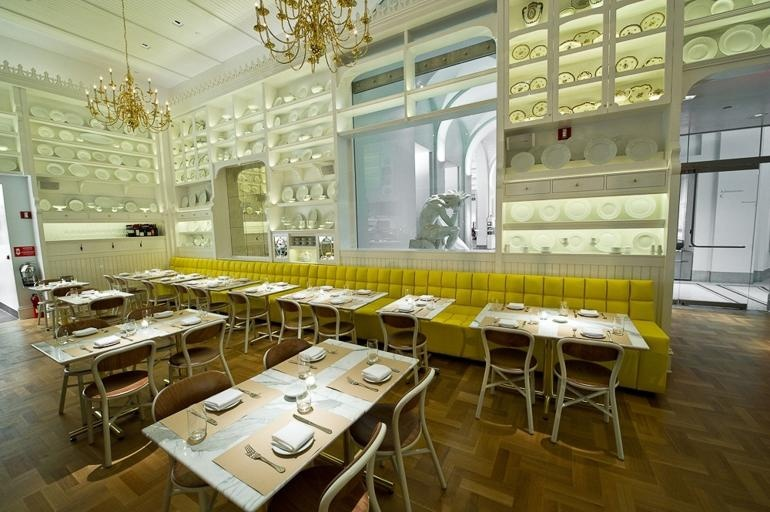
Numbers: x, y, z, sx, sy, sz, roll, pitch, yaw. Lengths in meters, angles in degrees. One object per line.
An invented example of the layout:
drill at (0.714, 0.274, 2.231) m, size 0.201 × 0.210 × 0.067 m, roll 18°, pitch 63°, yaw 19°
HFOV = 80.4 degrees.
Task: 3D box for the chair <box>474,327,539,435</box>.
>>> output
chair at (1.692, 1.540, 6.366) m, size 0.866 × 1.293 × 0.756 m, roll 4°, pitch 13°, yaw 24°

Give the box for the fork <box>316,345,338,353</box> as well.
fork at (-0.730, 1.198, 5.794) m, size 0.060 × 0.078 × 0.550 m, roll 0°, pitch 0°, yaw 15°

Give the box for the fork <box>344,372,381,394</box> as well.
fork at (-0.262, 1.501, 5.372) m, size 0.458 × 0.068 × 0.075 m, roll 18°, pitch 42°, yaw 23°

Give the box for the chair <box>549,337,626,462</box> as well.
chair at (2.724, 1.746, 6.135) m, size 0.851 × 1.537 × 1.066 m, roll 0°, pitch 7°, yaw 26°

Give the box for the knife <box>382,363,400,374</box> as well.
knife at (0.069, 1.367, 5.523) m, size 0.240 × 0.018 × 0.055 m, roll 1°, pitch 4°, yaw 40°

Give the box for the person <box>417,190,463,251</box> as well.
person at (1.069, -0.691, 8.796) m, size 0.923 × 1.191 × 0.849 m, roll 6°, pitch 15°, yaw 8°

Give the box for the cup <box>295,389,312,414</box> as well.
cup at (-0.925, 1.662, 5.175) m, size 0.213 × 0.213 × 0.208 m, roll -1°, pitch -5°, yaw 0°

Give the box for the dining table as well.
dining table at (2.333, 1.489, 6.492) m, size 2.213 × 1.192 × 1.632 m, roll 3°, pitch 10°, yaw 16°

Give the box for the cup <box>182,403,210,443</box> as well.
cup at (-2.107, 1.856, 5.073) m, size 0.234 × 0.333 × 0.351 m, roll -6°, pitch 6°, yaw -23°

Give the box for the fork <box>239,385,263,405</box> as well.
fork at (-1.636, 1.610, 5.380) m, size 0.459 × 0.069 × 0.096 m, roll 15°, pitch 22°, yaw 34°
